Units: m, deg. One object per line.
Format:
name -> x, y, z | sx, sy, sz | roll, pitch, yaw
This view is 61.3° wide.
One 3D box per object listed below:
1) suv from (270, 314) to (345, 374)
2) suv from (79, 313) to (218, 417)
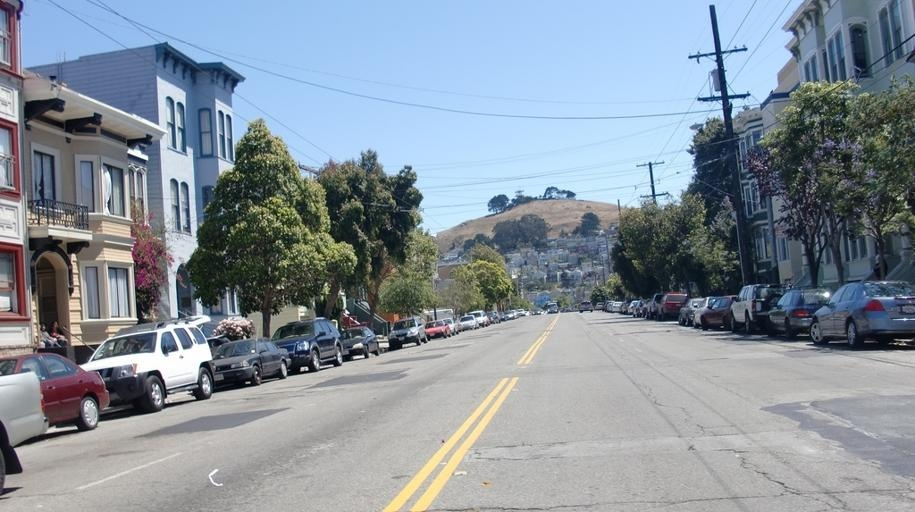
suv -> -7.808, 4.666, 40.334 | 2.452, 2.746, 5.769 | -1, -3, 9
suv -> -11.411, 4.194, 29.420 | 2.722, 2.931, 6.496 | -1, -3, 7
